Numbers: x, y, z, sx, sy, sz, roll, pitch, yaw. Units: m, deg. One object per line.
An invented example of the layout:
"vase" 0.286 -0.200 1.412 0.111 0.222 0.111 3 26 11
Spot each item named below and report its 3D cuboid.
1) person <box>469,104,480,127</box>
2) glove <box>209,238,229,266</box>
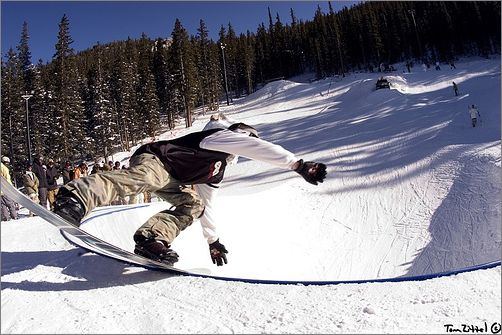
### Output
"person" 11.837 -2.825 20.163 0.442 1.088 1.835 -4 10 31
"glove" -0.684 2.014 9.264 0.473 0.585 0.171 -36 -5 36
